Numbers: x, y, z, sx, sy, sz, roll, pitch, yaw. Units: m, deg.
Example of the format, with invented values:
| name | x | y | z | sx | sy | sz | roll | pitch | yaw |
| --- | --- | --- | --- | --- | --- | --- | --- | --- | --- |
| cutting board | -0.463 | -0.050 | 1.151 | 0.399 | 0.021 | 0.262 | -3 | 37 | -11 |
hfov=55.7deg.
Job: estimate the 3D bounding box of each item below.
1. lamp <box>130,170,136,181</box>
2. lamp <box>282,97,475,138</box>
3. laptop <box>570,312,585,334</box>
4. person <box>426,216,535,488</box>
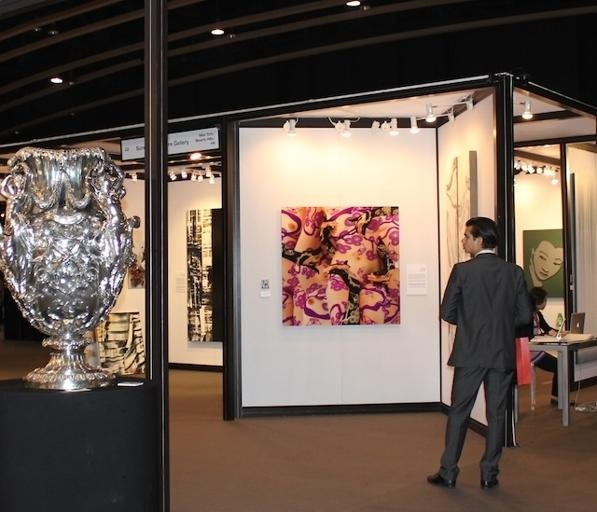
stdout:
| name | x | y | z | sx | sy | sz | roll | pitch | yaw |
| --- | --- | --- | --- | --- | --- | --- | --- | --- | --- |
| lamp | -2.646 | -1.269 | 9.099 | 0.082 | 0.135 | 0.554 | 1 | -3 | -17 |
| lamp | 0.980 | -1.456 | 6.258 | 1.920 | 0.273 | 1.008 | -1 | -3 | 19 |
| laptop | 3.300 | 0.786 | 6.649 | 0.144 | 0.226 | 0.350 | -1 | -3 | 27 |
| person | 1.330 | 0.678 | 4.133 | 0.758 | 1.934 | 0.324 | -1 | -3 | 9 |
